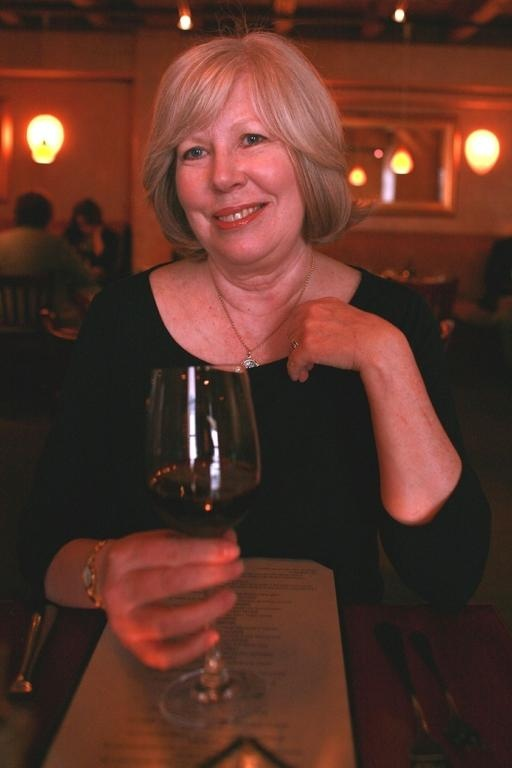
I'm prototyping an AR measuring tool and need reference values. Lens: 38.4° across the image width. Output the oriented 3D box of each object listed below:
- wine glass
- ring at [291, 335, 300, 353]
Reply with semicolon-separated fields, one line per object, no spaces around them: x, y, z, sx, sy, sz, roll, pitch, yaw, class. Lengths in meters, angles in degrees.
-0.044;0.132;0.653;0.107;0.292;0.132;0;10;-7;wine glass
0.063;-0.062;1.126;0.016;0.019;0.007;1;0;0;ring
